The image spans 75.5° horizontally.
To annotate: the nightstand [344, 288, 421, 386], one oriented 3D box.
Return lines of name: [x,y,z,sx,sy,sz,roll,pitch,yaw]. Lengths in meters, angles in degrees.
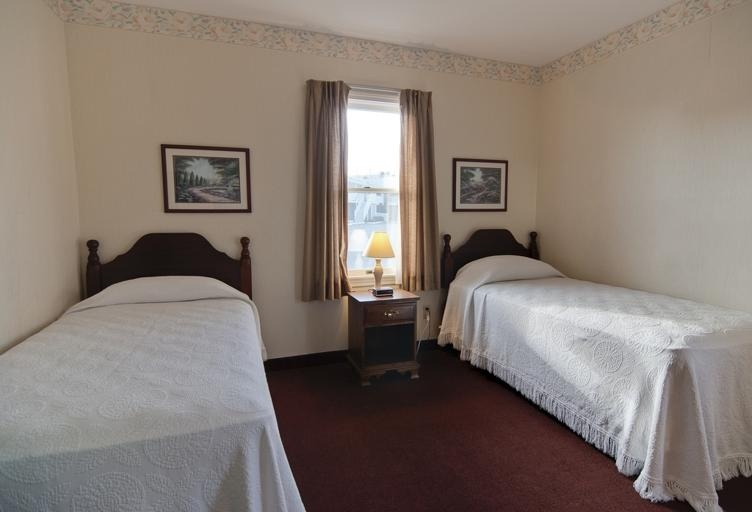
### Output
nightstand: [0.059,0.780,4.932,0.730,1.087,0.763,-1,1,-17]

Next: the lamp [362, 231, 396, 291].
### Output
lamp: [0.021,0.051,4.843,0.324,0.572,0.326,1,4,-17]

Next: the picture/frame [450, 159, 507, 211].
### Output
picture/frame: [1.121,-0.810,5.475,0.575,0.505,0.038,0,1,-23]

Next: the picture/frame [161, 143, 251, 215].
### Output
picture/frame: [-1.651,-0.742,4.604,0.652,0.560,0.028,-1,1,-21]
